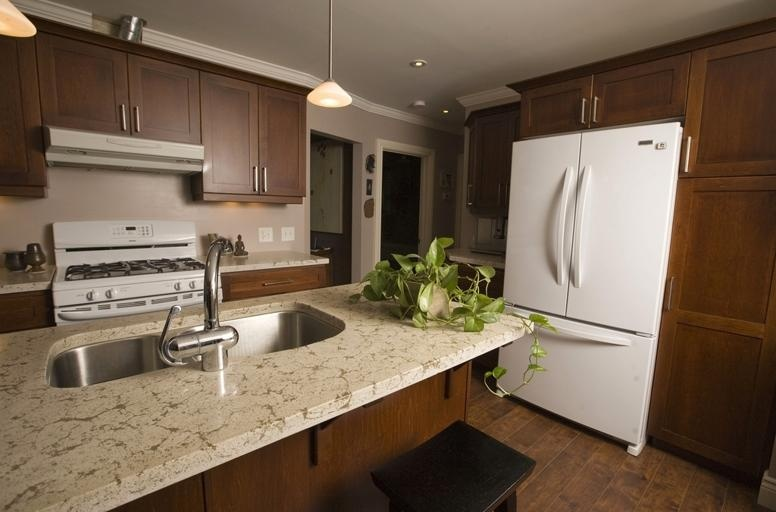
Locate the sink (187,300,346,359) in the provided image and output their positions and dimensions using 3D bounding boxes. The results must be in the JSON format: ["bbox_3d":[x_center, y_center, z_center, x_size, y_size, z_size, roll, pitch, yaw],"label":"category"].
[{"bbox_3d":[-0.575,0.335,2.750,0.429,0.255,0.420,-8,19,-36],"label":"sink"}]

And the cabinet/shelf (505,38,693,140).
[{"bbox_3d":[1.548,-1.116,3.739,0.306,0.444,1.268,6,-3,-43],"label":"cabinet/shelf"}]

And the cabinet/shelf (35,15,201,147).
[{"bbox_3d":[-1.956,-1.199,3.665,1.152,0.710,0.609,-2,0,-40],"label":"cabinet/shelf"}]

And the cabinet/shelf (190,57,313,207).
[{"bbox_3d":[-1.157,-1.025,4.189,1.262,1.294,0.505,-3,4,-41],"label":"cabinet/shelf"}]

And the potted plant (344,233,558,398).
[{"bbox_3d":[0.224,0.179,2.827,0.928,0.452,0.416,20,-1,-28],"label":"potted plant"}]

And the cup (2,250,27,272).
[{"bbox_3d":[-2.610,0.036,3.582,0.130,0.121,0.153,0,13,-20],"label":"cup"}]

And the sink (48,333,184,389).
[{"bbox_3d":[-1.349,0.488,2.458,0.364,0.124,0.284,-3,11,-37],"label":"sink"}]
